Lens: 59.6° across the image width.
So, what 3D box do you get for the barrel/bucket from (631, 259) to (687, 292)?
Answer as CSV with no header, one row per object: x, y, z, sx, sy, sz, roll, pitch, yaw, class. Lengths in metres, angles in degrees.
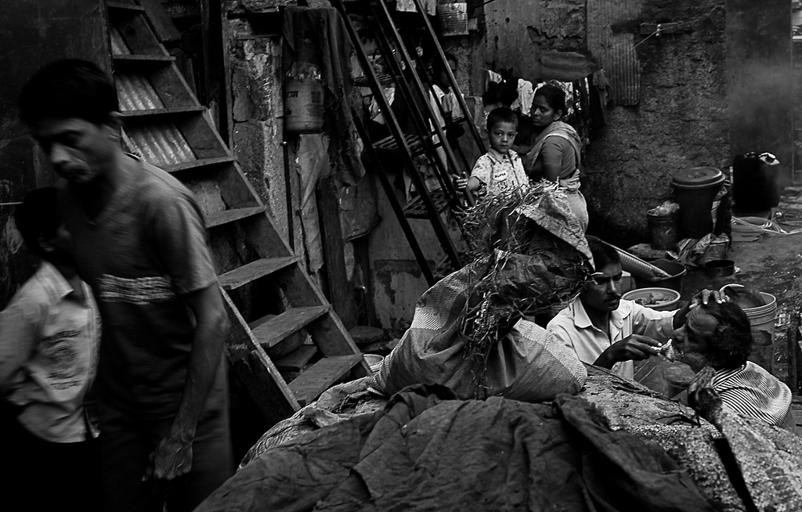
2.650,0.203,7.066,0.393,0.166,0.404,-2,21,1,barrel/bucket

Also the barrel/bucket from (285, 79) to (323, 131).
-0.864,-1.352,6.328,0.412,0.444,0.414,0,8,0,barrel/bucket

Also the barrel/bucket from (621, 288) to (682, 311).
2.207,0.362,6.061,0.367,0.133,0.355,-4,4,0,barrel/bucket

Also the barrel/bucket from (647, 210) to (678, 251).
3.115,-0.308,8.674,0.442,0.460,0.429,-2,3,0,barrel/bucket

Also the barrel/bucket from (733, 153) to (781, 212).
5.248,-1.059,10.369,0.648,0.858,0.435,5,17,24,barrel/bucket

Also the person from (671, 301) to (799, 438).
1.602,0.494,3.469,0.565,0.552,0.932,0,1,21,person
